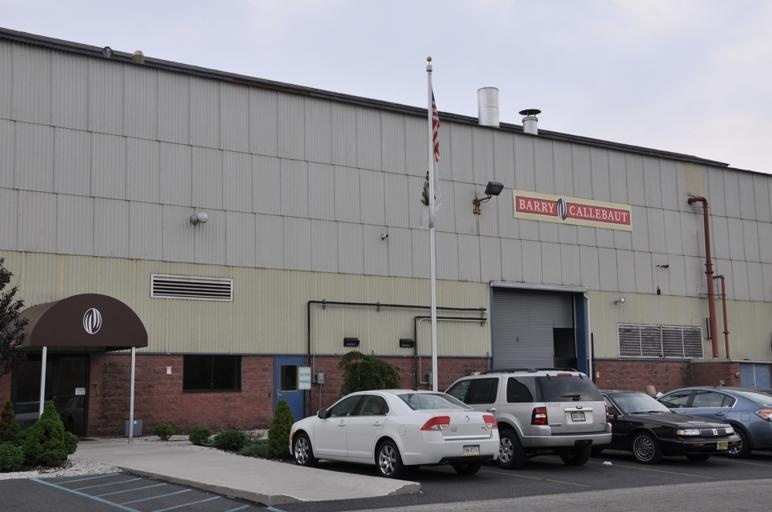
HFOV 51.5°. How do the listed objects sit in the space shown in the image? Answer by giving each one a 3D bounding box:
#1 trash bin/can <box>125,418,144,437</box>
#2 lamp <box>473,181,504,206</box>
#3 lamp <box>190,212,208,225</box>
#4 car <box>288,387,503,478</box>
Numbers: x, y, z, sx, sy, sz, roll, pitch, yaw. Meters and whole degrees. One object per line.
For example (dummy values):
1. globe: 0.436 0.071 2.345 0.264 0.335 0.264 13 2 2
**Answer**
1. trash bin/can: -9.122 6.196 28.825 0.838 0.870 0.472 4 -10 -23
2. lamp: 4.727 -2.971 36.955 1.378 1.187 1.242 -3 -12 6
3. lamp: -7.226 -1.451 31.140 0.829 0.474 0.560 -13 -16 42
4. car: -0.033 4.693 21.602 4.873 1.734 2.293 -5 -10 44
